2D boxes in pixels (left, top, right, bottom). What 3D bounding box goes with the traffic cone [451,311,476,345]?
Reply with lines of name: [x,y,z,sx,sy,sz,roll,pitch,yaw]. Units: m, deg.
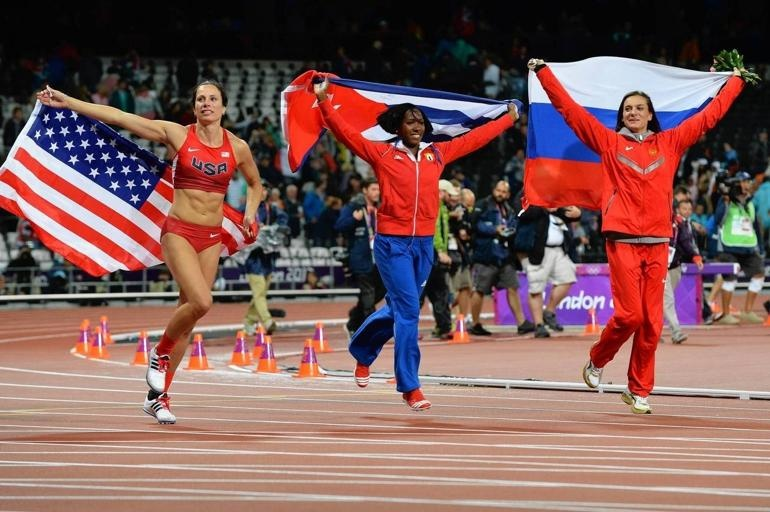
traffic cone: [1.203,1.125,17.766,0.397,0.402,0.390,-2,1,-30]

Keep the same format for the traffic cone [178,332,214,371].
traffic cone: [-2.408,1.275,14.898,0.453,0.543,0.439,3,-3,-28]

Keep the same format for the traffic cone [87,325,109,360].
traffic cone: [-4.099,1.248,16.140,0.384,0.494,0.373,2,0,12]

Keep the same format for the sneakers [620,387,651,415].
sneakers: [2.553,1.473,11.518,0.291,0.226,0.293,2,2,20]

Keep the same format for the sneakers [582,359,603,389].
sneakers: [2.178,1.242,11.945,0.173,0.304,0.266,1,2,12]

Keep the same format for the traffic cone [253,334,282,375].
traffic cone: [-1.480,1.267,14.596,0.404,0.515,0.391,2,-1,6]

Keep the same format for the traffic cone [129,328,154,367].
traffic cone: [-3.440,1.270,15.506,0.371,0.471,0.391,1,-5,-5]

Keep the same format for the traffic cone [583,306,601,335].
traffic cone: [3.373,1.065,18.356,0.378,0.415,0.370,-1,0,-6]

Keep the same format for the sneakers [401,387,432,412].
sneakers: [0.326,1.435,11.327,0.114,0.217,0.343,0,2,-40]

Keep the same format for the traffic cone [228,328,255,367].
traffic cone: [-1.949,1.249,15.267,0.420,0.486,0.426,2,2,27]

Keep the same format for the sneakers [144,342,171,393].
sneakers: [-2.257,1.117,11.214,0.219,0.447,0.271,1,2,0]

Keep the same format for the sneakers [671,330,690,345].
sneakers: [4.273,1.199,16.527,0.123,0.174,0.358,-2,-8,-14]

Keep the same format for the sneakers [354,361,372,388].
sneakers: [-0.253,1.281,12.235,0.139,0.271,0.190,1,2,-5]

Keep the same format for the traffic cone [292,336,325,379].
traffic cone: [-0.989,1.263,14.075,0.403,0.496,0.407,-1,2,-27]
